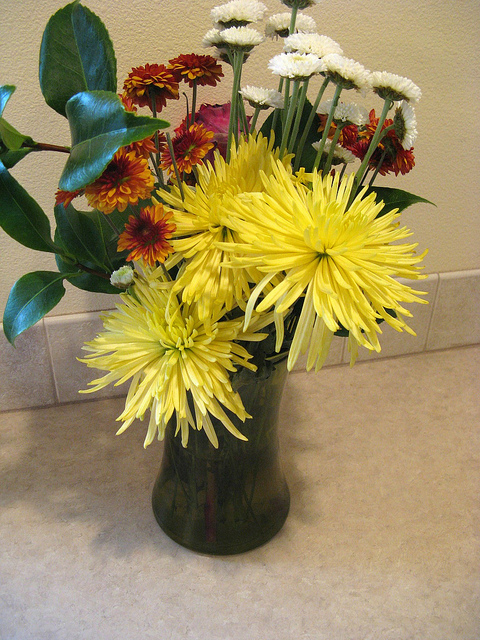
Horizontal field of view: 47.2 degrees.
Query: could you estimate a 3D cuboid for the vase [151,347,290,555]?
[{"bbox_3d":[-0.026,0.124,0.533,0.113,0.158,0.116,4,4,4],"label":"vase"}]
